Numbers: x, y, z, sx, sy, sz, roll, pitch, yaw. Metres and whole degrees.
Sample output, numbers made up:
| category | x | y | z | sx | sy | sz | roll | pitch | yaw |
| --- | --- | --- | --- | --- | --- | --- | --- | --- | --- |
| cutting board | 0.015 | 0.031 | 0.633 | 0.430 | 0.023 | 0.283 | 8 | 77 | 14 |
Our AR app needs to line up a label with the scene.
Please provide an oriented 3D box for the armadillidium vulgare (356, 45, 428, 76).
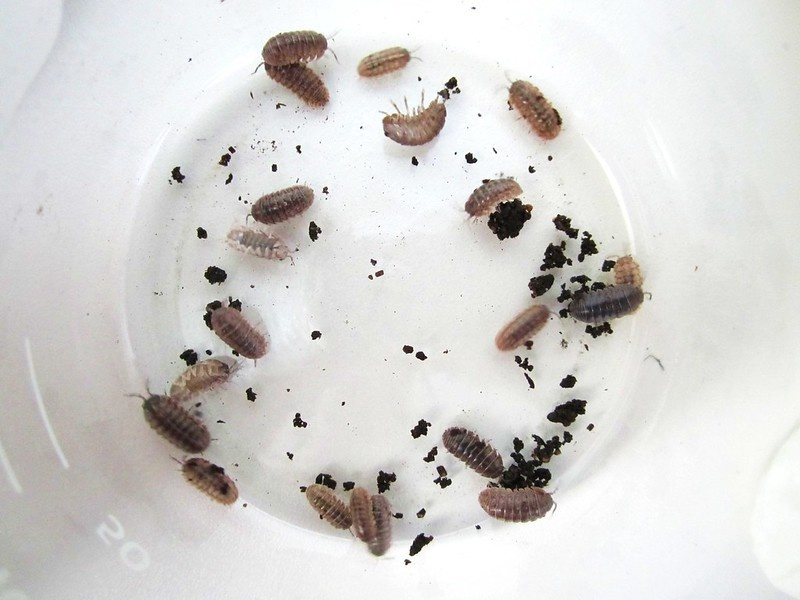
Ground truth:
| category | x | y | z | sx | sy | sz | roll | pitch | yaw |
| --- | --- | --- | --- | --- | --- | --- | --- | --- | --- |
| armadillidium vulgare | -0.099 | -1.844 | 6.693 | 0.409 | 0.113 | 0.211 | -20 | 111 | -10 |

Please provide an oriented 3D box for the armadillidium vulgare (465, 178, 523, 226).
| category | x | y | z | sx | sy | sz | roll | pitch | yaw |
| --- | --- | --- | --- | --- | --- | --- | --- | --- | --- |
| armadillidium vulgare | 0.728 | -0.822 | 6.644 | 0.490 | 0.254 | 0.266 | -29 | 81 | -10 |

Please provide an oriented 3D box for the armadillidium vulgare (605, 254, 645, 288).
| category | x | y | z | sx | sy | sz | roll | pitch | yaw |
| --- | --- | --- | --- | --- | --- | --- | --- | --- | --- |
| armadillidium vulgare | 1.753 | -0.212 | 6.625 | 0.162 | 0.117 | 0.288 | -6 | 85 | 16 |

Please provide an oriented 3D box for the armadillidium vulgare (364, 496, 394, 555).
| category | x | y | z | sx | sy | sz | roll | pitch | yaw |
| --- | --- | --- | --- | --- | --- | --- | --- | --- | --- |
| armadillidium vulgare | -0.141 | 1.713 | 6.544 | 0.212 | 0.108 | 0.410 | 4 | 84 | -33 |

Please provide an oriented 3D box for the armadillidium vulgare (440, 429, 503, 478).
| category | x | y | z | sx | sy | sz | roll | pitch | yaw |
| --- | --- | --- | --- | --- | --- | --- | --- | --- | --- |
| armadillidium vulgare | 0.540 | 1.135 | 6.503 | 0.499 | 0.135 | 0.272 | 37 | 78 | 9 |
